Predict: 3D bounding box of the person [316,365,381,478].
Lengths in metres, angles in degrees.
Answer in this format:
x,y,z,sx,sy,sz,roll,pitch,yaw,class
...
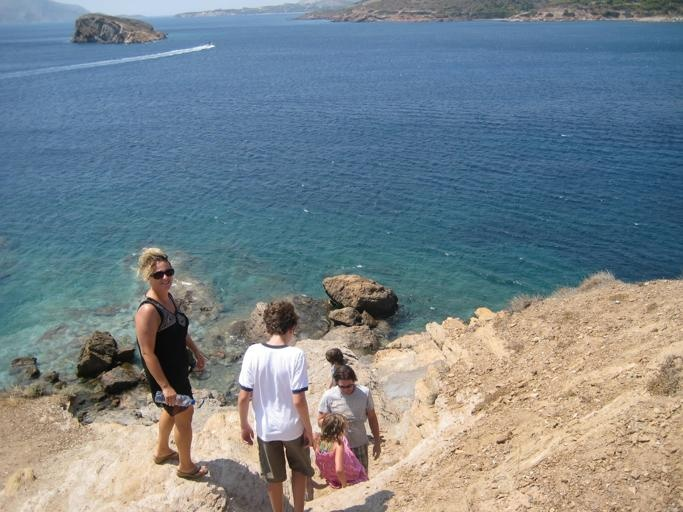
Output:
x,y,z,sx,sy,sz,roll,pitch,yaw,class
0.170,4.090,12.142,1.594,2.966,1.156,-2,1,6,person

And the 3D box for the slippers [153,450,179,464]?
x,y,z,sx,sy,sz,roll,pitch,yaw,class
-3.815,4.396,11.950,0.626,0.173,0.261,-6,28,-20,slippers

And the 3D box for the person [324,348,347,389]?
x,y,z,sx,sy,sz,roll,pitch,yaw,class
-0.176,2.897,13.905,0.605,1.436,0.714,7,59,7,person

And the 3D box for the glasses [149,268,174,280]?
x,y,z,sx,sy,sz,roll,pitch,yaw,class
-3.656,0.354,11.019,0.456,0.173,0.125,-15,31,-27,glasses
